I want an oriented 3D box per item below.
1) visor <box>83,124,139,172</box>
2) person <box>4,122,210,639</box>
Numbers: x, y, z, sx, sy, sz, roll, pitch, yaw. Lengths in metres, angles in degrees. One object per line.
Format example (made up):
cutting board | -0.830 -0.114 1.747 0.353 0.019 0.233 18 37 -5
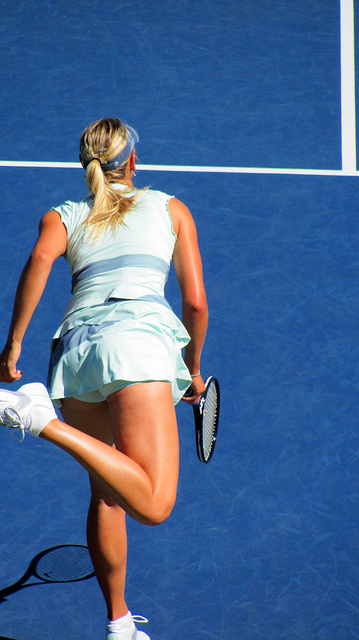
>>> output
visor | -0.257 -0.777 3.161 0.089 0.187 0.277 4 21 20
person | -0.314 -0.052 2.899 0.700 1.405 1.141 1 20 11
